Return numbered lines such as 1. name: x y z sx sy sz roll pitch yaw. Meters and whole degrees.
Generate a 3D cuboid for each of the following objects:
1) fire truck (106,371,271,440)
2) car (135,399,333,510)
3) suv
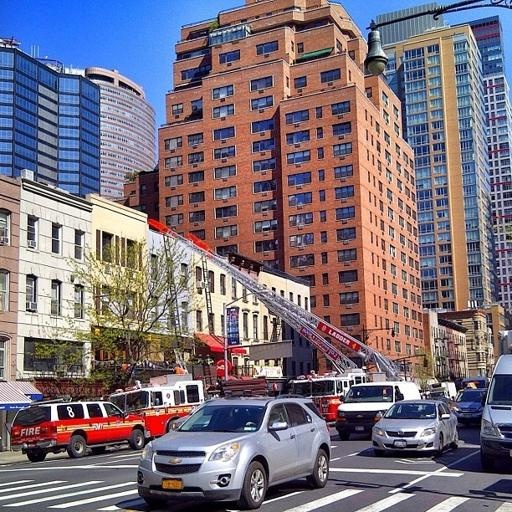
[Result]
1. fire truck: -2.968 6.676 38.093 2.836 2.437 9.501 -9 -11 29
2. car: -0.319 3.971 17.339 1.957 1.432 3.922 -7 -13 27
3. suv: -6.677 6.316 31.744 2.339 1.561 4.784 -6 -6 38
